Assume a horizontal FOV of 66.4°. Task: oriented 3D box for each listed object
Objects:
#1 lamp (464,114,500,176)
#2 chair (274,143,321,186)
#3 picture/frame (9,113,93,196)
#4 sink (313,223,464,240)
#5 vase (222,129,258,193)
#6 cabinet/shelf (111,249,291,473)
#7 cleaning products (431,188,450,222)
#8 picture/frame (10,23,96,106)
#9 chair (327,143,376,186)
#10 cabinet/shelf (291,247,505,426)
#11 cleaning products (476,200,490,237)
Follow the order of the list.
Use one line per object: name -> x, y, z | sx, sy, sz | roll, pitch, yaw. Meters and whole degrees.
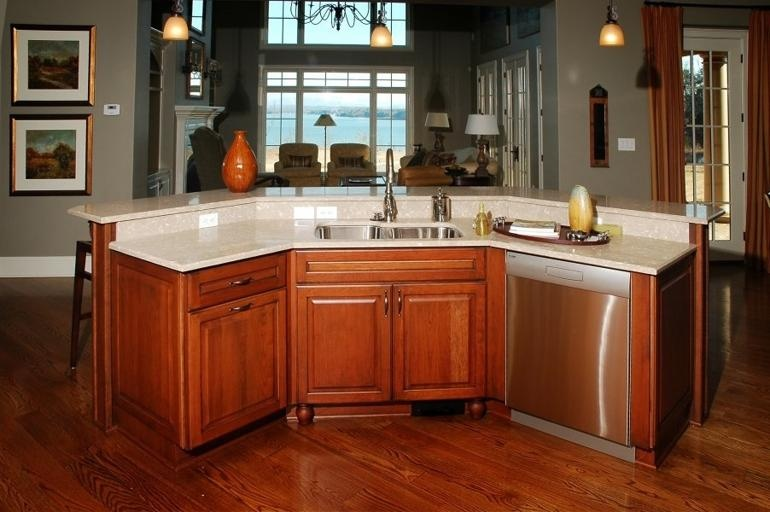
lamp -> 1.443, -1.633, 8.737 | 0.536, 0.826, 0.527 | 1, 0, 22
chair -> -1.752, -1.814, 12.098 | 0.883, 1.086, 1.049 | -1, 9, -4
picture/frame -> -3.600, -1.142, 6.342 | 0.920, 0.907, 0.073 | 0, 4, -6
sink -> 0.023, -0.174, 4.225 | 1.017, 0.113, 0.248 | -1, 11, -2
vase -> -1.126, -0.739, 4.575 | 0.254, 0.474, 0.326 | -3, 11, -15
cabinet/shelf -> -1.191, 0.534, 3.845 | 1.106, 1.092, 1.057 | 1, 7, -2
cleaning products -> 0.422, -0.386, 4.406 | 0.140, 0.238, 0.217 | 0, 10, 4
picture/frame -> -3.559, -2.085, 6.275 | 0.929, 0.884, 0.066 | 0, 1, -7
chair -> -0.723, -1.842, 12.358 | 1.057, 1.123, 1.158 | -4, 10, -21
cabinet/shelf -> 0.076, 0.475, 3.870 | 1.227, 0.969, 0.460 | -1, 2, -3
cleaning products -> 0.660, -0.257, 4.052 | 0.110, 0.223, 0.107 | 0, 2, -2
